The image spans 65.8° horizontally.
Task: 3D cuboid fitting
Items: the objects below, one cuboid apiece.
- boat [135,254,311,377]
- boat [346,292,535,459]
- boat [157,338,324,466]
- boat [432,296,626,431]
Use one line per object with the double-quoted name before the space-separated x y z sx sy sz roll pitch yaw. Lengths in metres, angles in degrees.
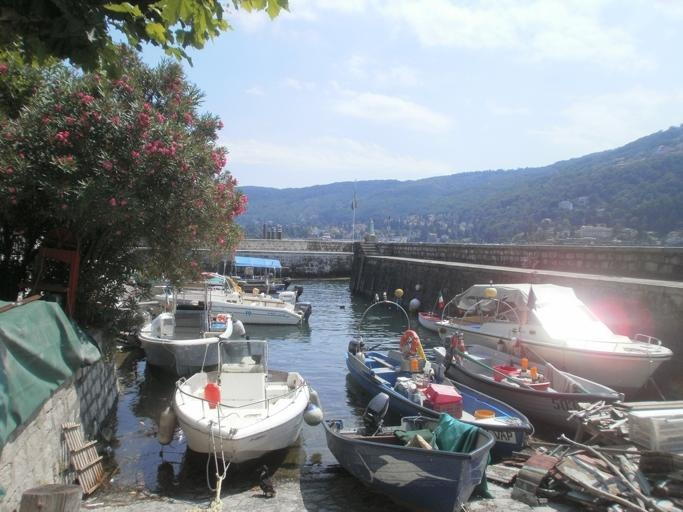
"boat" -5.414 2.725 22.709 2.960 3.633 10.488 5 1 9
"boat" 2.349 3.895 14.748 1.861 2.488 6.405 -3 5 -22
"boat" -2.296 3.441 12.659 3.123 2.415 3.040 1 0 8
"boat" 4.972 3.560 15.227 1.924 2.184 5.545 -2 5 -30
